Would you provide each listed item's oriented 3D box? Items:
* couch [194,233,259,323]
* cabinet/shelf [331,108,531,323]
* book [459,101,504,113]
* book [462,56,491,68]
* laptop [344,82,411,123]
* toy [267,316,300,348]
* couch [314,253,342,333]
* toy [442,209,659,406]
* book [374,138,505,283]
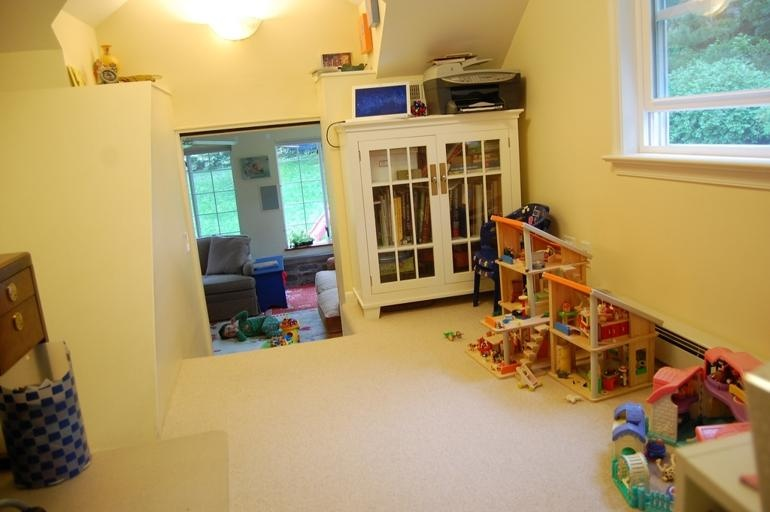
[{"bbox_3d":[-2.107,0.256,7.414,1.106,0.995,1.075,-4,3,-15],"label":"couch"},{"bbox_3d":[0.394,-0.338,4.078,1.615,1.648,0.648,-3,9,-9],"label":"cabinet/shelf"},{"bbox_3d":[0.719,-1.112,4.040,0.335,0.079,0.105,-5,12,4],"label":"book"},{"bbox_3d":[0.705,-1.516,4.225,0.175,0.053,0.135,-18,7,14],"label":"book"},{"bbox_3d":[-0.048,-1.194,4.210,0.440,0.260,0.018,-2,-10,0],"label":"laptop"},{"bbox_3d":[-1.042,0.780,5.551,0.363,0.346,0.308,5,-8,-27],"label":"toy"},{"bbox_3d":[-0.664,0.453,6.209,0.291,0.341,0.868,-2,24,-7],"label":"couch"},{"bbox_3d":[1.102,0.464,3.406,1.025,1.016,1.198,-15,22,-26],"label":"toy"},{"bbox_3d":[0.388,-0.380,4.100,1.042,0.975,0.335,-4,8,-10],"label":"book"}]
